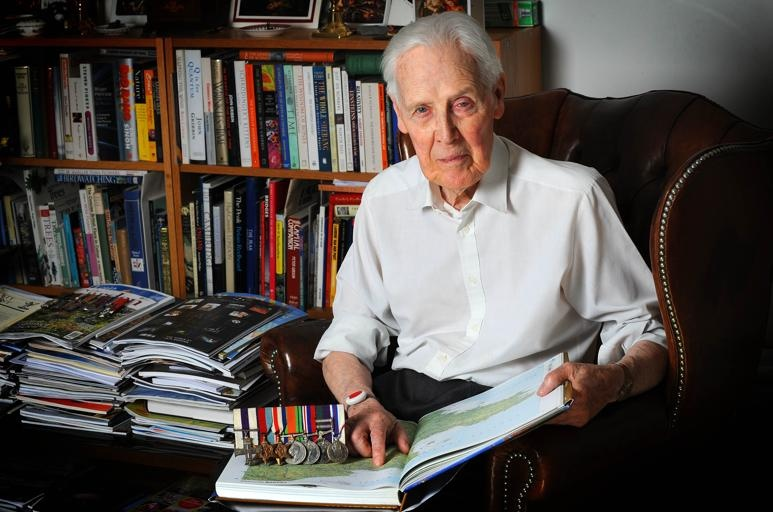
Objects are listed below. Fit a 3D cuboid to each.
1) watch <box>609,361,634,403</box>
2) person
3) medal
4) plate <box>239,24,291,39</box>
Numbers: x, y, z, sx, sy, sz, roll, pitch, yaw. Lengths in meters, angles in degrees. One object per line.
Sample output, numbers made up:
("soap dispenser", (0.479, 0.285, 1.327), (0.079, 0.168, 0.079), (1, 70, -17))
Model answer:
("watch", (0.509, 0.269, 1.325), (0.020, 0.065, 0.070), (12, -19, -9))
("person", (0.254, 0.013, 1.707), (0.690, 1.152, 0.700), (1, 11, 5))
("medal", (-0.200, 0.394, 1.359), (0.197, 0.052, 0.130), (-11, 22, -24))
("plate", (-0.456, -0.862, 2.388), (0.181, 0.065, 0.159), (-2, 13, -9))
